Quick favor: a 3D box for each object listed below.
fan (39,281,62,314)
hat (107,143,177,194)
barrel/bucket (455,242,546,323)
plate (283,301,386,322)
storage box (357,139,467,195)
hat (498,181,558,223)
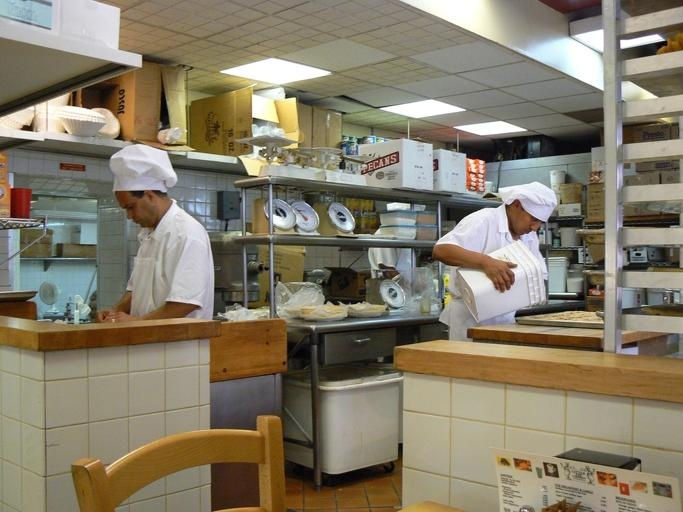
[{"bbox_3d":[-3.877,0.511,7.429,0.254,0.349,0.374,-4,4,-25],"label":"fan"},{"bbox_3d":[-1.002,-0.425,2.940,0.301,0.200,0.326,-19,-23,23],"label":"hat"},{"bbox_3d":[0.835,0.122,2.893,0.451,0.387,0.217,-3,4,-15],"label":"barrel/bucket"},{"bbox_3d":[-0.011,0.424,4.267,0.795,0.127,0.339,-3,3,-36],"label":"plate"},{"bbox_3d":[0.644,-0.768,4.865,0.900,0.312,0.604,3,-3,-41],"label":"storage box"},{"bbox_3d":[1.046,-0.306,3.156,0.299,0.219,0.227,-1,4,13],"label":"hat"}]
